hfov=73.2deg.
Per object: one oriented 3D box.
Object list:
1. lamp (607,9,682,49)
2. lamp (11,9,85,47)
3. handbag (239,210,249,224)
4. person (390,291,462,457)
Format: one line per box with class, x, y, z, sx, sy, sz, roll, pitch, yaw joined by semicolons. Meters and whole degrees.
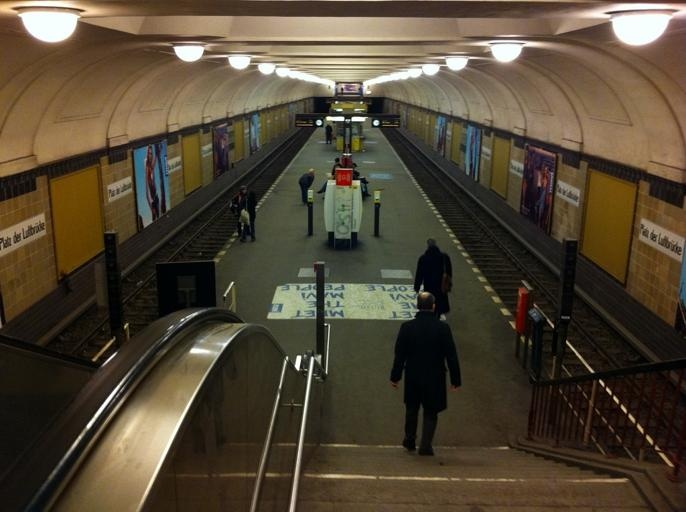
lamp;3.768;-2.826;5.780;0.795;0.337;0.808;3;20;-3
lamp;-3.417;-2.707;5.515;0.521;0.322;0.523;-1;14;-5
handbag;-3.316;-1.353;15.480;0.405;0.525;0.236;0;9;-9
person;1.039;1.469;5.701;0.796;1.955;0.923;-1;-15;13
